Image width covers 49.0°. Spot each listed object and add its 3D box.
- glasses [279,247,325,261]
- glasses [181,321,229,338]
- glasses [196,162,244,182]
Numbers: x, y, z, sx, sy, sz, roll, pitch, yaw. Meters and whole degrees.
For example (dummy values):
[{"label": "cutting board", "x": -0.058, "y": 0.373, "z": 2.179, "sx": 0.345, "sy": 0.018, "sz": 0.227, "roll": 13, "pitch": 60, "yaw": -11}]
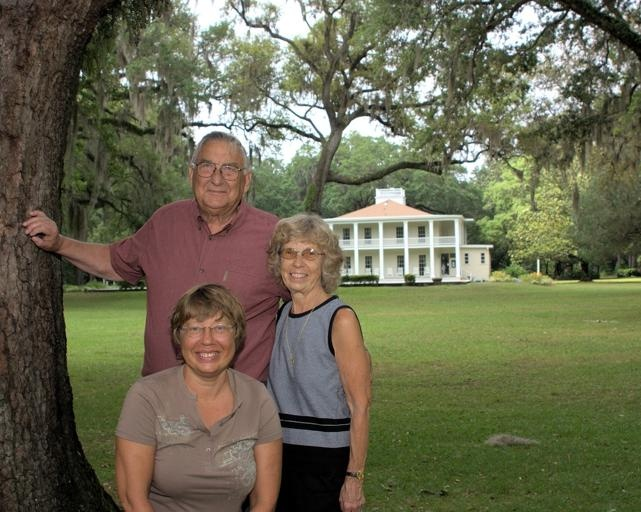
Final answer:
[{"label": "glasses", "x": -0.124, "y": -0.012, "z": 4.792, "sx": 0.267, "sy": 0.090, "sz": 0.072, "roll": 0, "pitch": -3, "yaw": 3}, {"label": "glasses", "x": -0.695, "y": 0.453, "z": 4.314, "sx": 0.300, "sy": 0.079, "sz": 0.051, "roll": 1, "pitch": -3, "yaw": -8}, {"label": "glasses", "x": -0.703, "y": -0.592, "z": 4.910, "sx": 0.330, "sy": 0.139, "sz": 0.072, "roll": 0, "pitch": -3, "yaw": -7}]
